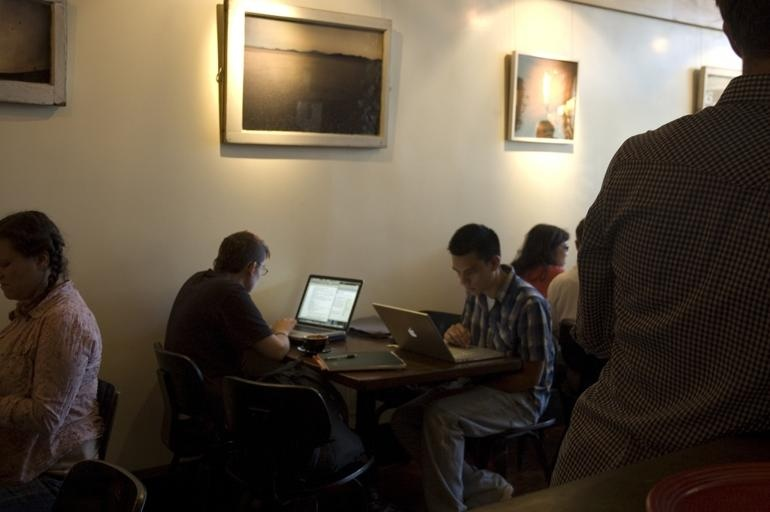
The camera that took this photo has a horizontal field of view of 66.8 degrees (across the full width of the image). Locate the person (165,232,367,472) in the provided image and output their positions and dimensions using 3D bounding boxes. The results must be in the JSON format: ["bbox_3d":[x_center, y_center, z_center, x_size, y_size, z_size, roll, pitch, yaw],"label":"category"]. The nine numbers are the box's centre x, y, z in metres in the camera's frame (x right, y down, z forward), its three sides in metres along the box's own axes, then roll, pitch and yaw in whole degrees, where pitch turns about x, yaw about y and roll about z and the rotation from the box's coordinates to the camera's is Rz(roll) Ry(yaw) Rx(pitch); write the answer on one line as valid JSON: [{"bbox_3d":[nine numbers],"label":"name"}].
[{"bbox_3d":[-0.665,0.513,3.278,1.090,1.198,0.819,5,-3,-24],"label":"person"}]

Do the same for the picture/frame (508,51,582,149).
[{"bbox_3d":[1.142,-1.158,4.279,0.737,0.667,0.100,-5,9,-30],"label":"picture/frame"}]

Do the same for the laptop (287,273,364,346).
[{"bbox_3d":[-0.425,0.288,3.383,0.464,0.319,0.487,-2,5,-39],"label":"laptop"}]

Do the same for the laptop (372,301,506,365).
[{"bbox_3d":[0.275,0.365,2.856,0.366,0.215,0.374,-7,9,-32],"label":"laptop"}]

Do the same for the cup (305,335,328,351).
[{"bbox_3d":[-0.337,0.436,2.935,0.083,0.058,0.082,2,10,0],"label":"cup"}]

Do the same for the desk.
[{"bbox_3d":[-0.053,0.836,3.030,1.249,0.626,1.334,6,-2,-16],"label":"desk"}]
